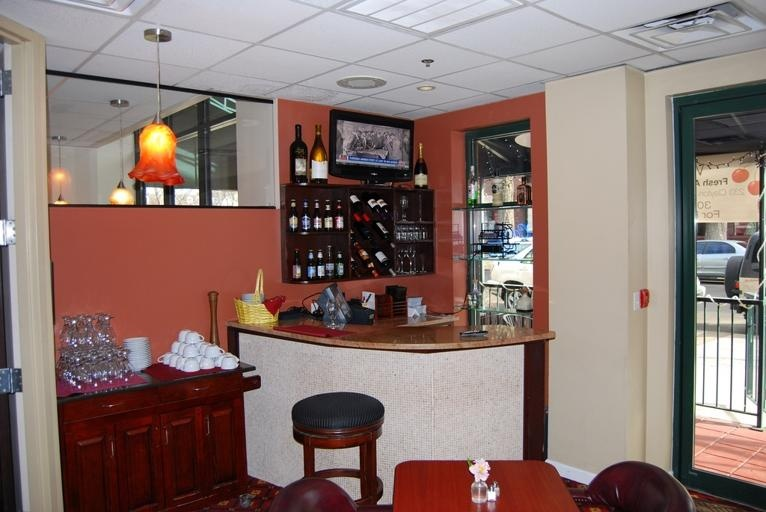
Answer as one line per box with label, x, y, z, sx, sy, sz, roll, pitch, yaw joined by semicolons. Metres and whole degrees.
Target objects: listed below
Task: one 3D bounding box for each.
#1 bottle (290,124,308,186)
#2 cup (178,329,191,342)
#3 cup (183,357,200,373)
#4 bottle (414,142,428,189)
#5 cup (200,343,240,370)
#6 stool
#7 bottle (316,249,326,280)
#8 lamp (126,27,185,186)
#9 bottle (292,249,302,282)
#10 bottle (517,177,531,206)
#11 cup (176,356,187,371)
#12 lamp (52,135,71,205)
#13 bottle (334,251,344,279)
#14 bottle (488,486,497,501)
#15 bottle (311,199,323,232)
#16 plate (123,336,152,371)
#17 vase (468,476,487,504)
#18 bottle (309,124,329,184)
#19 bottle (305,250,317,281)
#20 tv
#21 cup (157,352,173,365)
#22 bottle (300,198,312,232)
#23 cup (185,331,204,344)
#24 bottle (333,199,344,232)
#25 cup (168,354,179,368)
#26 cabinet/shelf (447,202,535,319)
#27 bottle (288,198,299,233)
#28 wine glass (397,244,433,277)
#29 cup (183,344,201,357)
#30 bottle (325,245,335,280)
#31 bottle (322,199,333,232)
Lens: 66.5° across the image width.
bottle;-0.847;-1.004;5.817;0.185;0.579;0.248;-1;3;-6
cup;-1.743;0.698;5.088;0.120;0.082;0.115;2;0;0
cup;-1.592;0.905;4.813;0.119;0.103;0.115;0;-4;0
bottle;0.424;-1.020;6.613;0.148;0.508;0.188;0;3;10
cup;-1.406;0.851;4.934;0.189;0.111;0.285;9;-2;-12
stool;-0.355;1.442;4.504;0.807;0.828;0.799;0;0;-12
bottle;-0.644;0.084;5.992;0.076;0.295;0.219;-1;3;-4
lamp;-1.758;-1.086;4.475;0.333;1.097;0.994;-2;3;-19
bottle;-0.873;0.094;5.852;0.086;0.314;0.184;-1;3;-5
bottle;1.418;-0.661;5.888;0.146;0.291;0.315;0;3;12
cup;-1.686;0.902;4.845;0.083;0.076;0.103;-1;1;8
lamp;-2.671;-0.706;4.810;0.093;0.562;0.045;-3;4;-28
bottle;-0.458;0.090;6.067;0.076;0.280;0.150;-3;4;-26
bottle;0.607;1.327;3.254;0.049;0.069;0.036;0;3;11
bottle;-0.675;-0.418;5.932;0.097;0.323;0.242;-1;3;-4
plate;-2.059;0.822;4.899;0.266;0.278;0.249;-1;-1;-6
vase;0.537;1.317;3.260;0.092;0.107;0.082;0;3;11
bottle;-0.665;-1.020;5.885;0.158;0.588;0.166;-1;3;0
bottle;-0.733;0.090;5.922;0.102;0.306;0.238;-1;3;-7
tv;-0.174;-1.165;6.175;0.918;0.604;0.236;0;0;-34
cup;-1.880;0.888;5.024;0.163;0.106;0.094;0;-3;9
bottle;-0.777;-0.393;5.856;0.116;0.322;0.260;-1;3;-7
cup;-1.643;0.713;5.082;0.091;0.087;0.127;-4;-14;15
bottle;-0.465;-0.418;6.054;0.100;0.312;0.167;-2;3;-20
cup;-1.770;0.891;4.910;0.095;0.083;0.092;2;-3;0
cabinet/shelf;1.216;0.031;6.466;0.440;1.252;0.748;18;-18;-35
bottle;-0.888;-0.406;5.828;0.068;0.322;0.174;0;3;16
wine glass;0.339;0.053;6.569;0.371;0.277;0.122;4;-6;-41
cup;-1.605;0.802;4.930;0.099;0.095;0.156;2;4;43
bottle;-0.557;0.062;6.040;0.096;0.331;0.193;-1;3;-6
bottle;-0.571;-0.419;6.022;0.109;0.303;0.206;-1;3;-5
